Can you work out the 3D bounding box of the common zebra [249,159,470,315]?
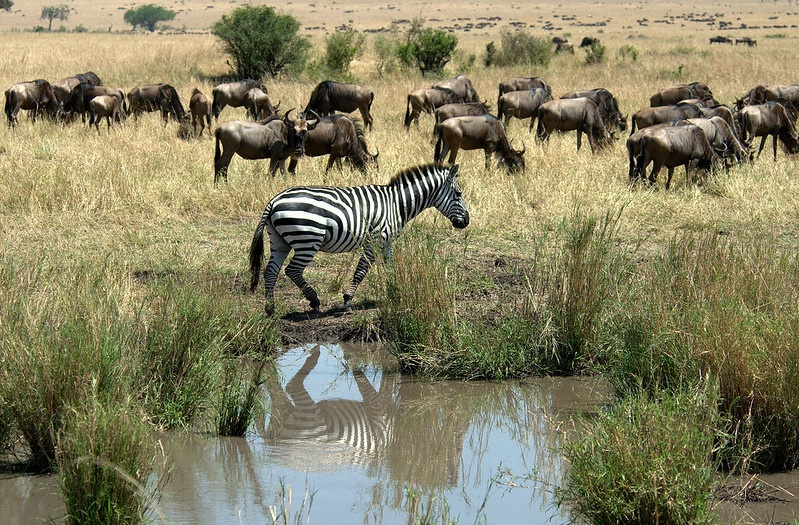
[{"bbox_3d":[-0.488,-0.329,11.225,2.695,1.968,0.756,-5,25,-20],"label":"common zebra"}]
